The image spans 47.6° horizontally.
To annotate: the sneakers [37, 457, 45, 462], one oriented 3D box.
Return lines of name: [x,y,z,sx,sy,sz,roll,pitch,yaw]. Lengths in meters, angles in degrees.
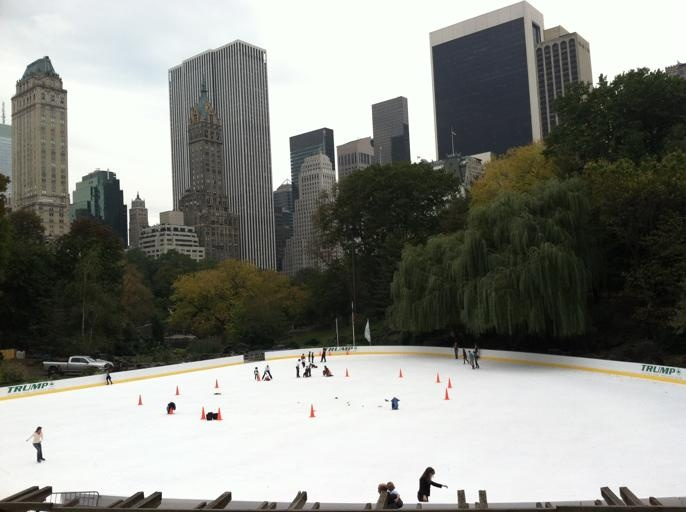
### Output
sneakers: [-17.135,11.644,44.176,0.422,0.199,0.192,4,-6,-13]

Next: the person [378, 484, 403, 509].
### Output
person: [2.284,11.543,37.386,1.192,1.332,0.816,2,-5,16]

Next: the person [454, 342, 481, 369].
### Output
person: [10.987,8.771,67.876,1.070,1.586,3.784,-2,3,17]

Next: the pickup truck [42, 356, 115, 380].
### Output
pickup truck: [-23.904,9.893,69.231,7.279,1.693,2.609,0,5,23]

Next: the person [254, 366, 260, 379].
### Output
person: [-7.057,9.764,64.102,0.446,1.087,1.901,-2,4,-7]

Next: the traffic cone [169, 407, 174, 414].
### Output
traffic cone: [-11.459,10.395,51.996,0.307,0.377,0.333,1,-10,0]
